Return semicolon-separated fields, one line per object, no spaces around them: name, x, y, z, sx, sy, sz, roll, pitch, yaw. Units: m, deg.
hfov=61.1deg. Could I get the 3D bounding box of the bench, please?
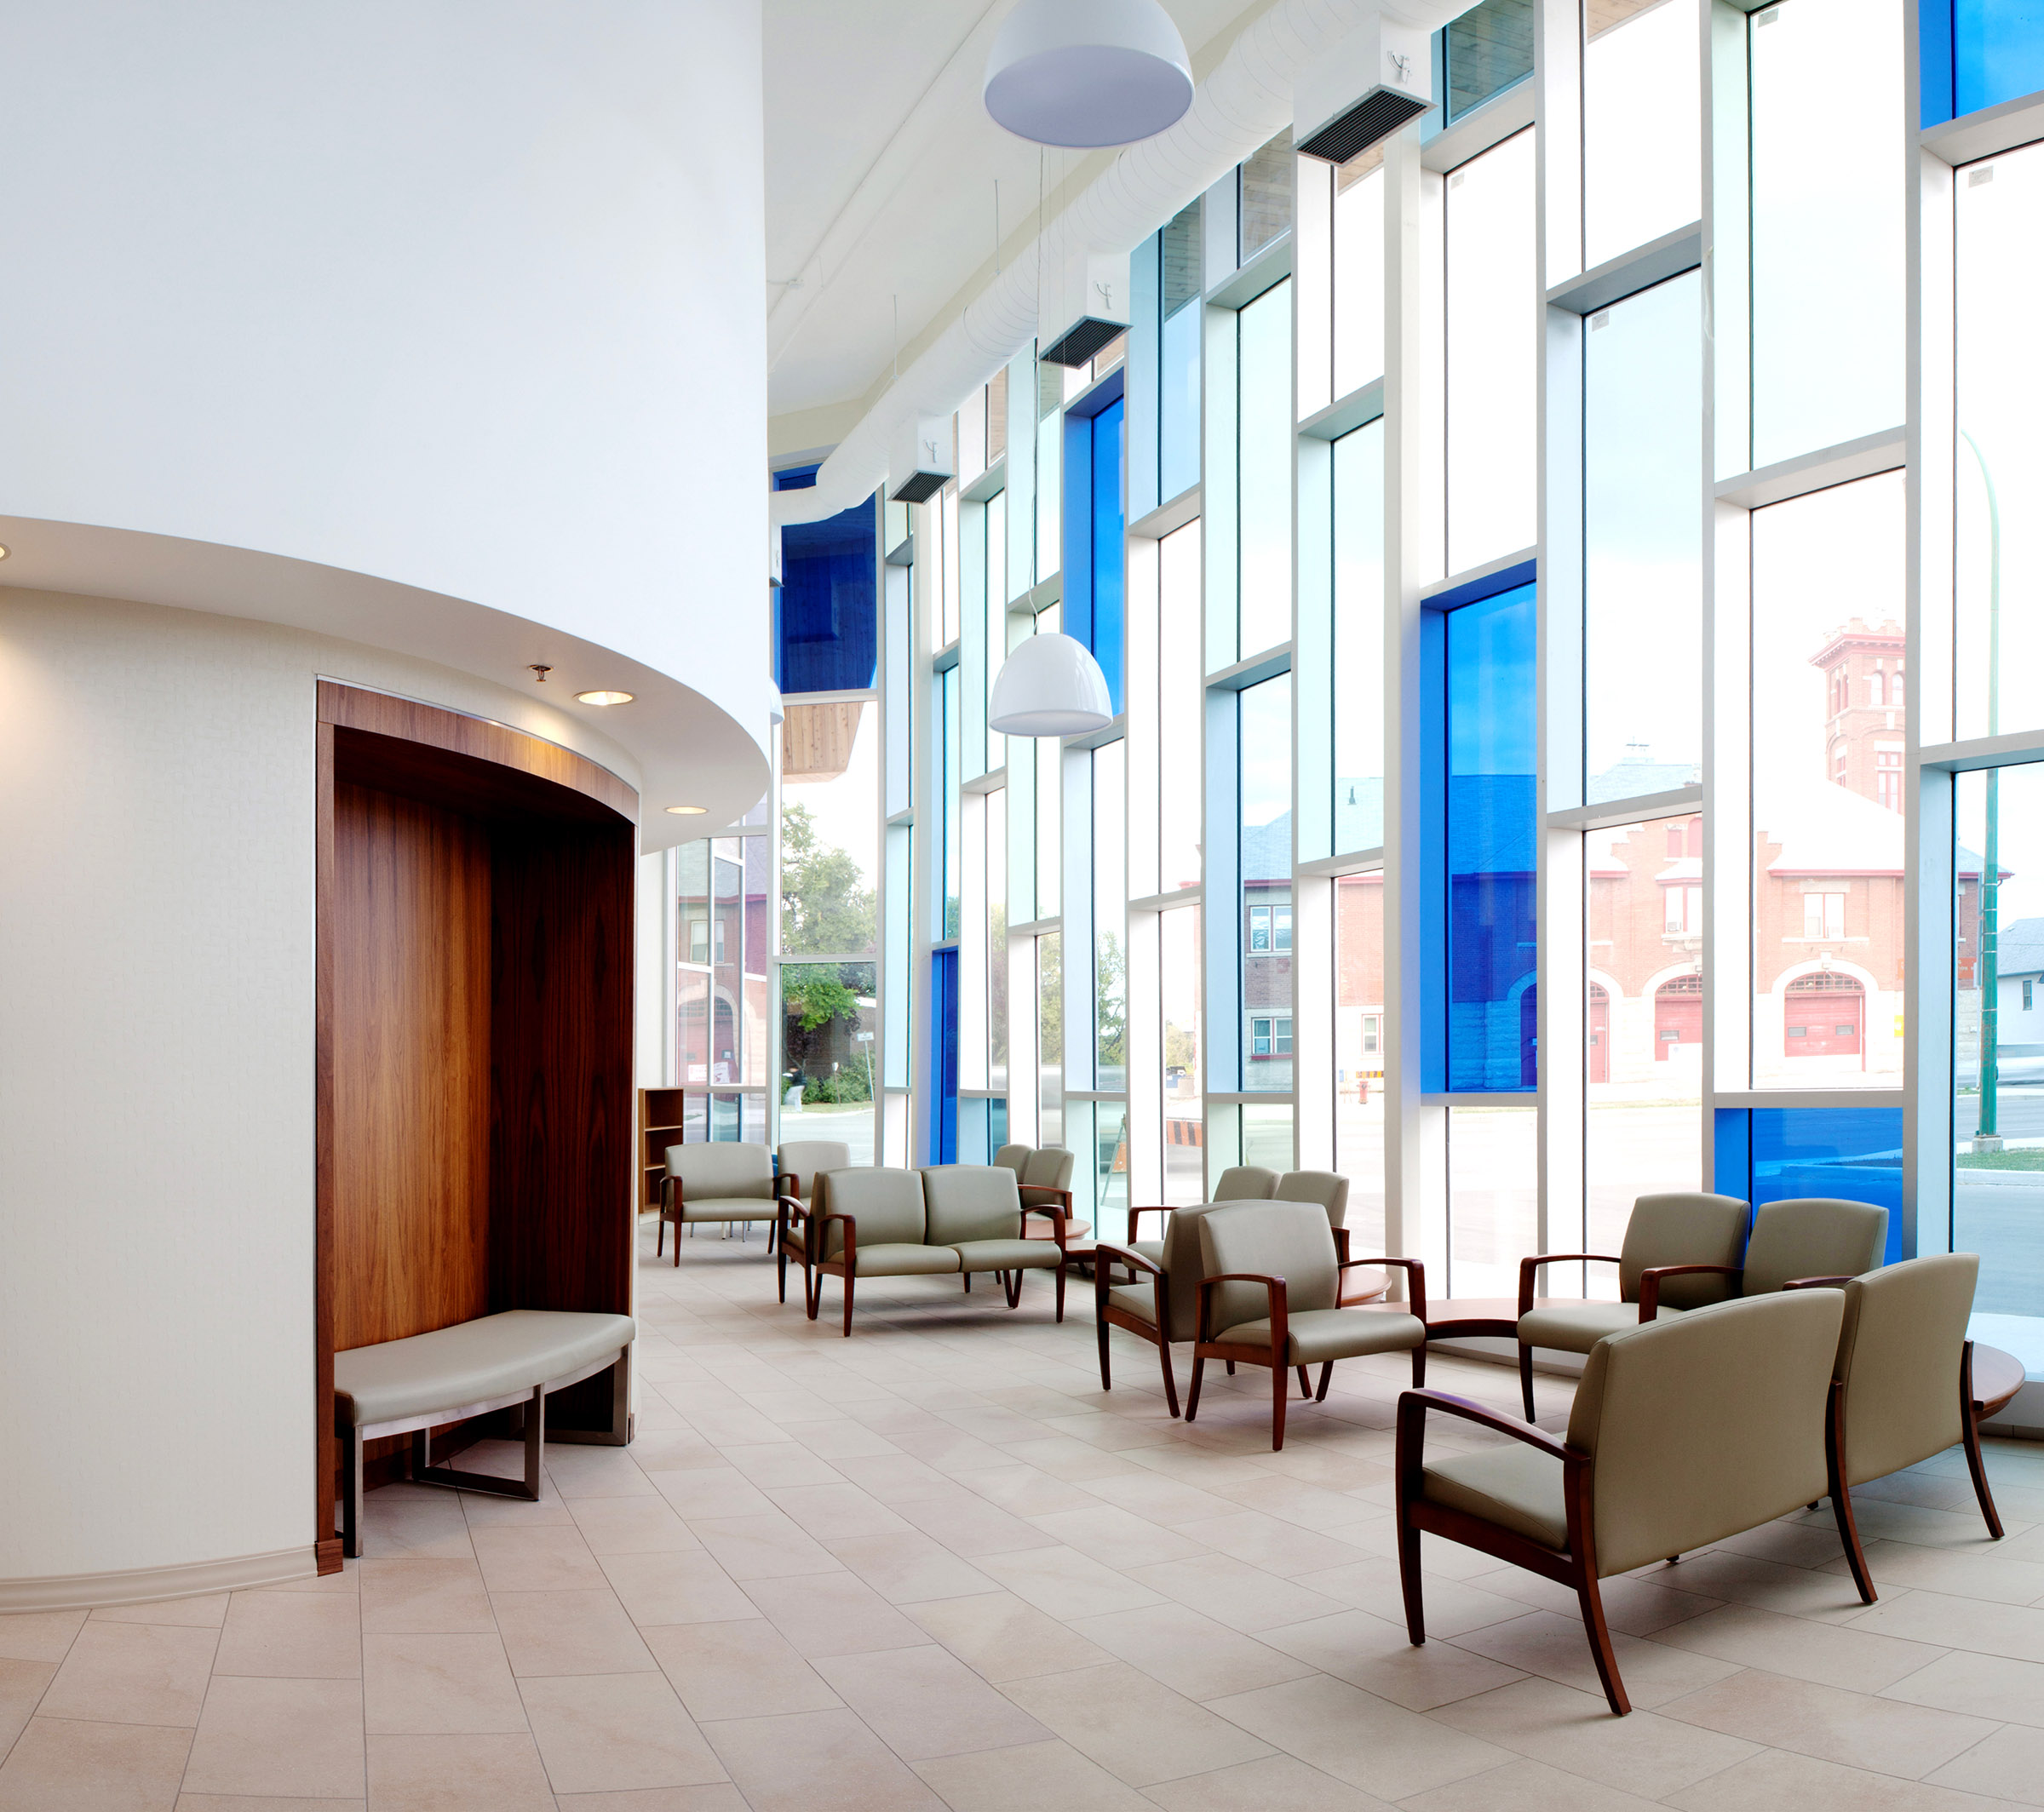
bench;-2.175;2.001;6.765;0.792;0.616;1.703;-1;-3;5
